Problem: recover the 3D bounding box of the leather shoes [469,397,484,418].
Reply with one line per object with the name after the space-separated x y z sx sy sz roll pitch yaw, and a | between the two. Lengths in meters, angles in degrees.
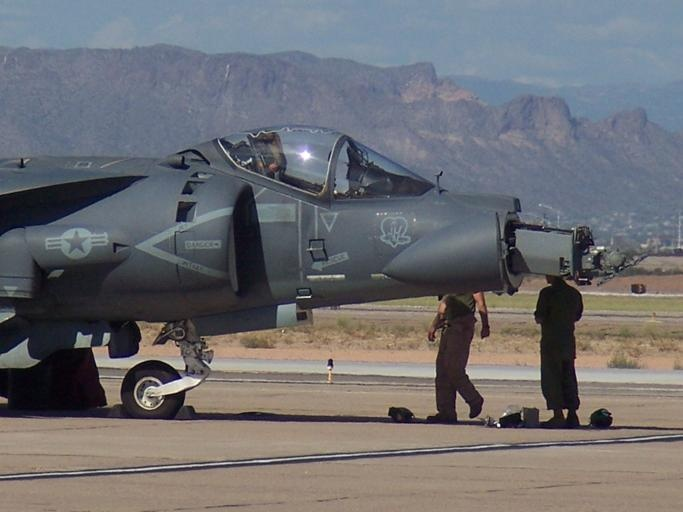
2.543 2.815 25.323 0.195 0.414 0.203 9 8 -18 | leather shoes
